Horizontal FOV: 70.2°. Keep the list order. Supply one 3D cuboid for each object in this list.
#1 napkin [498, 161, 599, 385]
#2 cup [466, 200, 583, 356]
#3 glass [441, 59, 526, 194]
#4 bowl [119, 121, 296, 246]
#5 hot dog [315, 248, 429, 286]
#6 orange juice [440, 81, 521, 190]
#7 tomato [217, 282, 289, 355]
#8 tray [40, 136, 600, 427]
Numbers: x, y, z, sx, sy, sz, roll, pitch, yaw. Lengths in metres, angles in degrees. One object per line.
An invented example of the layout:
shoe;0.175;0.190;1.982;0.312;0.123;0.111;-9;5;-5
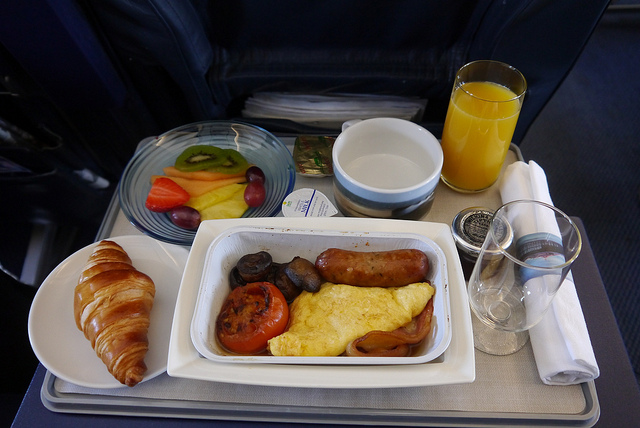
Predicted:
napkin;0.480;0.079;1.061;0.162;0.141;0.567;-8;62;5
cup;0.436;0.107;0.994;0.180;0.199;0.249;27;62;18
glass;0.399;-0.220;1.221;0.183;0.353;0.192;8;37;9
bowl;-0.300;-0.081;1.229;0.450;0.157;0.400;-20;59;-11
hot dog;0.116;0.118;0.989;0.215;0.071;0.095;1;37;2
orange juice;0.413;-0.193;1.207;0.184;0.266;0.177;8;31;9
tomato;-0.145;0.216;0.961;0.138;0.054;0.137;10;56;2
tray;-0.008;0.394;0.990;1.200;0.045;0.177;-3;57;-1
